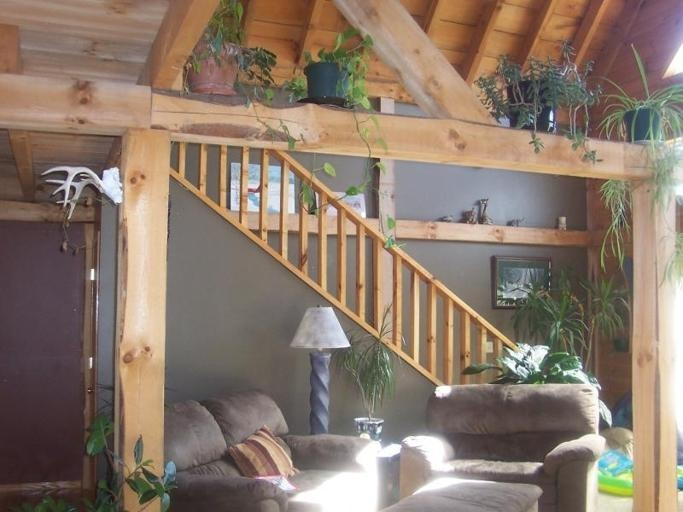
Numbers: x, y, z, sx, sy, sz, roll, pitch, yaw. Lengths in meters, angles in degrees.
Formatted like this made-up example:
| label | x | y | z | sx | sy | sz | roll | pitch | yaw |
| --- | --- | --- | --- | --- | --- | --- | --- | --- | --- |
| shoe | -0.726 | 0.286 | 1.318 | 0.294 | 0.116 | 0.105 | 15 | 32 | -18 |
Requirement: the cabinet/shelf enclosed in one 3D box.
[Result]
| label | x | y | z | sx | sy | sz | roll | pitch | yaw |
| --- | --- | --- | --- | --- | --- | --- | --- | --- | --- |
| cabinet/shelf | 0.476 | -0.501 | 6.481 | 5.459 | 0.323 | 0.303 | 6 | -11 | -25 |

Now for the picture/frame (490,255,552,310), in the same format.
| label | x | y | z | sx | sy | sz | roll | pitch | yaw |
| --- | --- | --- | --- | --- | --- | --- | --- | --- | --- |
| picture/frame | 1.896 | 0.300 | 7.588 | 0.542 | 0.421 | 0.062 | 0 | -2 | -27 |

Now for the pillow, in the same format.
| label | x | y | z | sx | sy | sz | roll | pitch | yaw |
| --- | --- | --- | --- | --- | --- | --- | --- | --- | --- |
| pillow | -0.533 | 1.379 | 4.768 | 0.103 | 0.336 | 0.343 | -38 | -13 | 25 |
